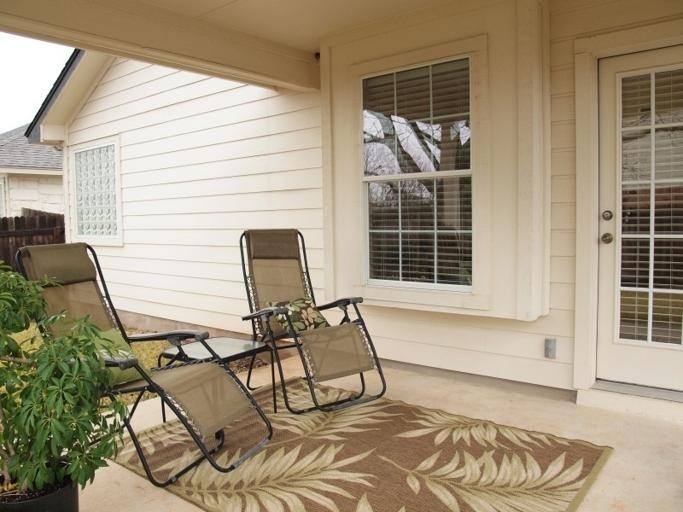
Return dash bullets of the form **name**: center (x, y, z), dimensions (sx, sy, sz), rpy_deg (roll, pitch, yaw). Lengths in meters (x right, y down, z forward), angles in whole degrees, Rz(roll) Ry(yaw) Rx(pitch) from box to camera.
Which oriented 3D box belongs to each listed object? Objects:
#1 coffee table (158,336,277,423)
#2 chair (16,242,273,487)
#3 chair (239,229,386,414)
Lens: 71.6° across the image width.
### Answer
- **coffee table**: center (-0.955, 0.738, 3.588), dimensions (0.826, 0.508, 0.765), rpy_deg (4, 7, 38)
- **chair**: center (-1.210, 0.596, 2.874), dimensions (1.706, 1.052, 0.754), rpy_deg (13, 5, 14)
- **chair**: center (-0.289, 0.471, 3.769), dimensions (0.867, 1.197, 1.215), rpy_deg (-6, 17, -34)
